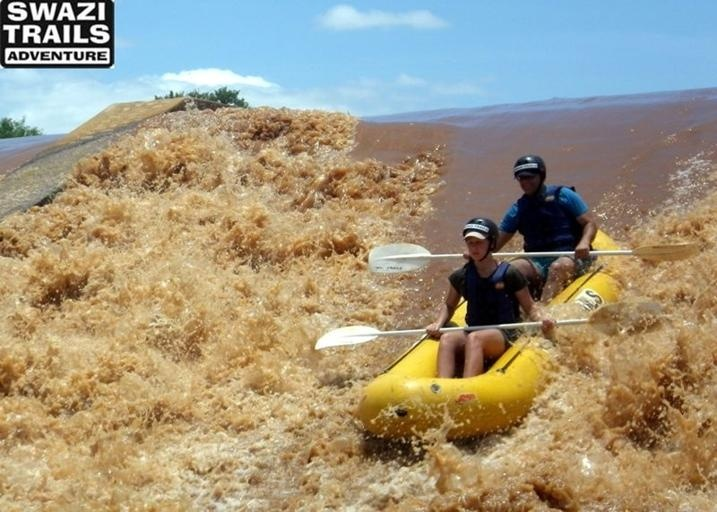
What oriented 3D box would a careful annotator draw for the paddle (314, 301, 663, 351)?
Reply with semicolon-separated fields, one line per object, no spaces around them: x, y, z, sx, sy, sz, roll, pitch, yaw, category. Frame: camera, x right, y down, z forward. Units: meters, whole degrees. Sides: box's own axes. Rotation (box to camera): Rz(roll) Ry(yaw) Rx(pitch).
1.367;0.710;7.391;2.920;0.124;0.480;-3;41;3;paddle

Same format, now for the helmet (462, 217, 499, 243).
1.155;-0.262;6.964;0.194;0.142;0.278;0;-16;41;helmet

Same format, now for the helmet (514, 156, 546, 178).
1.812;-0.941;7.895;0.248;0.243;0.352;18;25;39;helmet

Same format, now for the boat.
1.398;1.042;7.182;1.113;0.656;2.764;19;47;42;boat

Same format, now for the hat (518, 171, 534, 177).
1.749;-0.853;7.779;0.163;0.065;0.029;7;20;14;hat
